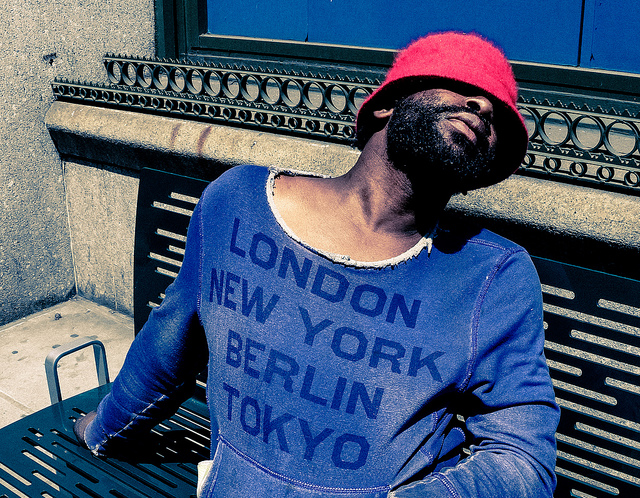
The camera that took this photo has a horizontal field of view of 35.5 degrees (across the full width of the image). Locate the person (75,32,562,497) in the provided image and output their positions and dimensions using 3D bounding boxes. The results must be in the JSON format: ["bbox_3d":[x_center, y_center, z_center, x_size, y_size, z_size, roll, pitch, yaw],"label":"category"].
[{"bbox_3d":[0.013,0.073,3.640,1.480,1.654,0.883,17,15,-6],"label":"person"}]
